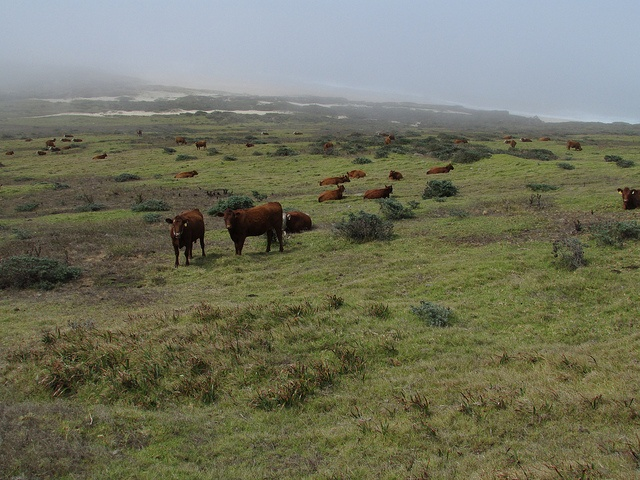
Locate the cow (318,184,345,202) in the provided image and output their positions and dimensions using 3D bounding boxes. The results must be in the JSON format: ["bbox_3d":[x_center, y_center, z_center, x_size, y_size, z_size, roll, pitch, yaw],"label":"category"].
[{"bbox_3d":[0.566,-2.484,27.984,1.392,0.743,0.819,0,13,-3],"label":"cow"}]

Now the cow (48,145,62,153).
[{"bbox_3d":[-29.730,-10.109,56.601,1.969,0.873,0.732,10,22,23],"label":"cow"}]

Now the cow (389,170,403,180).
[{"bbox_3d":[5.241,-4.279,34.323,1.247,0.590,0.431,4,-4,-41],"label":"cow"}]

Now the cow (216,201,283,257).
[{"bbox_3d":[-2.507,-0.375,18.504,1.117,1.808,3.092,9,12,35],"label":"cow"}]

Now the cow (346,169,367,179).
[{"bbox_3d":[2.577,-4.663,36.437,1.468,0.507,0.647,5,30,17],"label":"cow"}]

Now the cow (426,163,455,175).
[{"bbox_3d":[8.343,-4.930,35.584,1.709,0.682,1.084,1,12,2],"label":"cow"}]

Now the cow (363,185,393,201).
[{"bbox_3d":[3.481,-2.543,27.578,2.195,0.890,0.586,-5,16,3],"label":"cow"}]

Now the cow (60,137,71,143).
[{"bbox_3d":[-33.853,-13.353,67.711,1.316,0.557,3.897,-5,13,-25],"label":"cow"}]

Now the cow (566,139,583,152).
[{"bbox_3d":[26.182,-9.749,52.820,0.993,1.595,3.394,-1,5,24],"label":"cow"}]

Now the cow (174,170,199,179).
[{"bbox_3d":[-10.191,-4.898,38.127,1.349,0.513,1.769,5,13,22],"label":"cow"}]

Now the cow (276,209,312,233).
[{"bbox_3d":[-1.053,-0.701,21.417,0.684,0.638,1.376,-2,-2,27],"label":"cow"}]

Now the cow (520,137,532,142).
[{"bbox_3d":[24.777,-11.983,61.128,1.166,0.375,1.432,3,12,12],"label":"cow"}]

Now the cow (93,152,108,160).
[{"bbox_3d":[-21.438,-8.074,49.447,1.208,0.444,2.017,-4,13,-23],"label":"cow"}]
